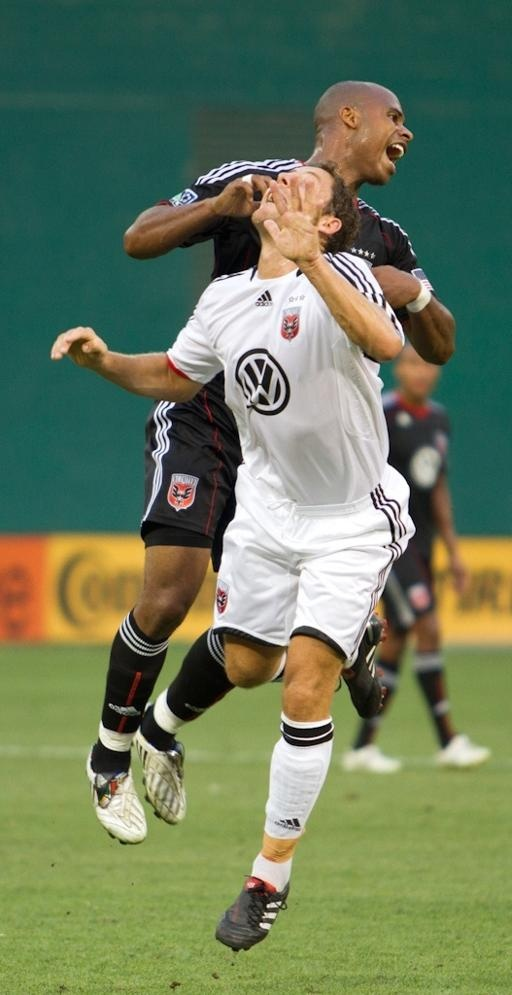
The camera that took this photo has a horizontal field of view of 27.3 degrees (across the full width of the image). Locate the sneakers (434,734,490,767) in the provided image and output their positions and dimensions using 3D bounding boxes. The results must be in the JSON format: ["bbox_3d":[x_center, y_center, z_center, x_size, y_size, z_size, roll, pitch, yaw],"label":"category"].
[{"bbox_3d":[0.825,1.043,4.339,0.207,0.104,0.115,-2,-3,-6],"label":"sneakers"}]

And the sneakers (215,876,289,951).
[{"bbox_3d":[-0.012,0.990,2.558,0.098,0.115,0.233,36,59,5],"label":"sneakers"}]

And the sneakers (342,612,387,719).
[{"bbox_3d":[0.328,0.492,2.897,0.104,0.144,0.334,1,-27,14],"label":"sneakers"}]

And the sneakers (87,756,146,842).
[{"bbox_3d":[-0.420,0.911,3.242,0.110,0.130,0.279,-13,59,-25],"label":"sneakers"}]

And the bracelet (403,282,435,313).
[{"bbox_3d":[0.431,-0.538,2.846,0.077,0.078,0.079,9,28,22],"label":"bracelet"}]

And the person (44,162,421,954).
[{"bbox_3d":[0.002,0.189,2.638,0.705,1.788,0.542,-1,-3,35],"label":"person"}]
